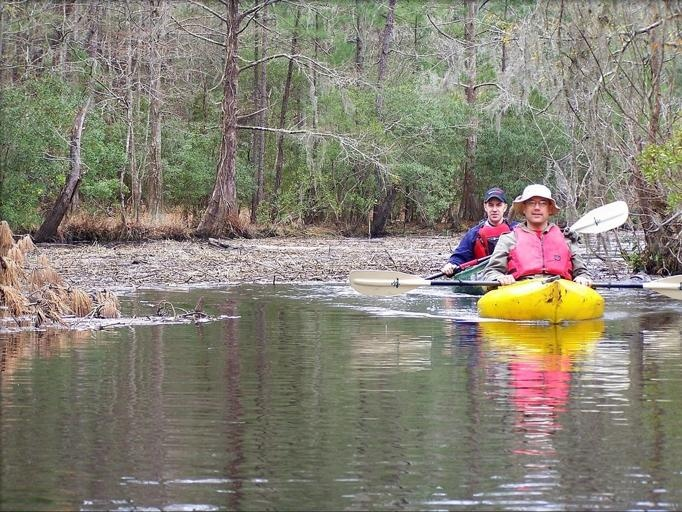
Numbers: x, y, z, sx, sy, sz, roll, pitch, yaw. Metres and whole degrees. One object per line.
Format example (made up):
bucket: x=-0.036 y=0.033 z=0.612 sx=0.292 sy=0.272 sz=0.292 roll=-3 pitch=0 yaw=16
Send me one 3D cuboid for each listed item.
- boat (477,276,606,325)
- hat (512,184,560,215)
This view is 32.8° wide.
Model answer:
boat: x=2.655 y=0.625 z=15.685 sx=1.784 sy=0.495 sz=2.287 roll=0 pitch=-3 yaw=9
hat: x=2.542 y=-0.756 z=15.175 sx=0.569 sy=0.413 sz=1.106 roll=0 pitch=0 yaw=8
